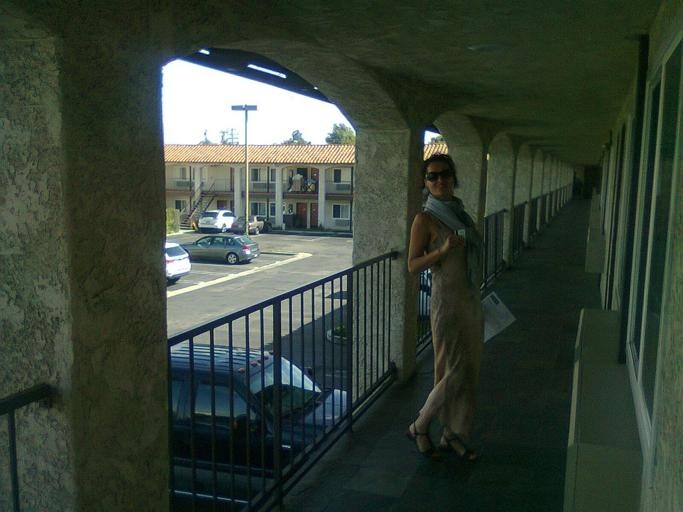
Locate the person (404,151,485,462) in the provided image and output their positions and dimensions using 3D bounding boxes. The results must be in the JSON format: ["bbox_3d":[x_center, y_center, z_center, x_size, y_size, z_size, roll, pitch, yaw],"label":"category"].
[{"bbox_3d":[0.627,0.318,4.342,0.442,1.864,0.449,2,9,26],"label":"person"}]

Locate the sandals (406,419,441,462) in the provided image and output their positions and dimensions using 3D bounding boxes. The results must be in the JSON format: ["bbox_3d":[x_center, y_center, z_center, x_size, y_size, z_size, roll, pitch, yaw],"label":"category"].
[{"bbox_3d":[0.505,1.150,4.475,0.109,0.122,0.274,-10,29,-44],"label":"sandals"}]

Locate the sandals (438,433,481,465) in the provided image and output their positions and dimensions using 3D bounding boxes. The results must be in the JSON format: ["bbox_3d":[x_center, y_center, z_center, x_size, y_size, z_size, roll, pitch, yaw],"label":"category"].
[{"bbox_3d":[0.742,1.191,4.455,0.234,0.108,0.118,13,15,35],"label":"sandals"}]

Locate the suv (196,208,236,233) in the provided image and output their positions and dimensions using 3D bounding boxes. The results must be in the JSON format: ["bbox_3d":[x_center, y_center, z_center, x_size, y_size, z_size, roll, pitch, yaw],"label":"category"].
[{"bbox_3d":[-7.095,-2.088,41.968,1.122,0.942,2.044,4,17,17],"label":"suv"}]
